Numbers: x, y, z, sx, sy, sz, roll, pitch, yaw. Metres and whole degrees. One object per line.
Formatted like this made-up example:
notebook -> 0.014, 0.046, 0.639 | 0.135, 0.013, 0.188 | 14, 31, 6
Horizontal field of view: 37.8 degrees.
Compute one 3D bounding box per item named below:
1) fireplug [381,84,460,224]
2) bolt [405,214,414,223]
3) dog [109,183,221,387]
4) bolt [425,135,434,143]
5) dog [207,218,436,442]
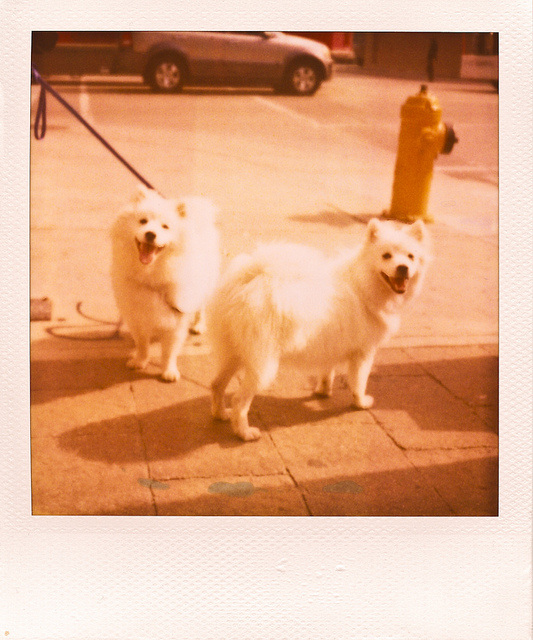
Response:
fireplug -> 1.302, -1.398, 6.590 | 0.510, 1.111, 0.277 | 6, 16, 7
bolt -> 1.213, -0.879, 6.677 | 0.071, 0.072, 0.028 | 12, -16, 26
dog -> -0.579, -0.173, 4.429 | 0.645, 1.162, 0.418 | 16, 20, 36
bolt -> 1.337, -1.503, 6.426 | 0.043, 0.048, 0.017 | 7, 29, -13
dog -> 0.304, 0.110, 4.284 | 1.213, 1.027, 0.574 | -7, 13, -29
